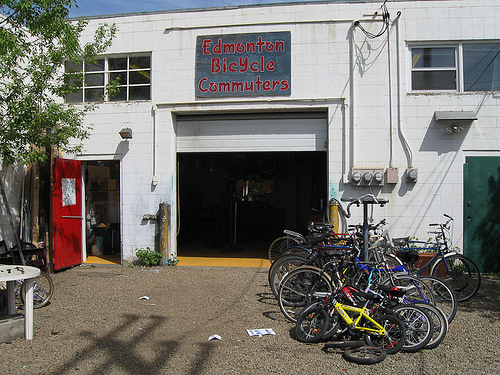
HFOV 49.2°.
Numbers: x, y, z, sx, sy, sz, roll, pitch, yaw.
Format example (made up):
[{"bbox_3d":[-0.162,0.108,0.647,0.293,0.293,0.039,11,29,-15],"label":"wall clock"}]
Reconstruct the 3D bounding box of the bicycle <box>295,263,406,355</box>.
[{"bbox_3d":[1.539,1.944,8.435,1.831,1.127,1.127,-2,-28,36],"label":"bicycle"}]

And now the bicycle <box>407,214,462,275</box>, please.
[{"bbox_3d":[3.375,1.115,10.995,1.660,0.822,1.022,-6,-7,8],"label":"bicycle"}]

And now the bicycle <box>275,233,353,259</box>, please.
[{"bbox_3d":[1.104,1.045,10.165,1.054,0.622,0.514,-2,1,0],"label":"bicycle"}]

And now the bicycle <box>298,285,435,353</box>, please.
[{"bbox_3d":[1.810,1.973,8.269,1.767,0.942,0.850,2,-18,10],"label":"bicycle"}]

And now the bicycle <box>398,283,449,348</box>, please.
[{"bbox_3d":[2.657,1.916,8.489,0.712,0.980,0.300,-15,-6,5],"label":"bicycle"}]

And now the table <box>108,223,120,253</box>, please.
[{"bbox_3d":[-3.677,1.362,14.827,0.253,0.648,0.798,-2,13,-8],"label":"table"}]

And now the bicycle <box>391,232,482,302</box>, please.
[{"bbox_3d":[3.322,1.543,10.779,2.157,1.246,0.930,-5,-14,32],"label":"bicycle"}]

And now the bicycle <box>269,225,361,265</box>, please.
[{"bbox_3d":[1.276,1.176,11.985,1.692,1.014,0.826,-2,1,0],"label":"bicycle"}]

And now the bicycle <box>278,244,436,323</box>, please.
[{"bbox_3d":[1.669,1.675,9.273,2.507,1.457,1.164,10,-42,-9],"label":"bicycle"}]

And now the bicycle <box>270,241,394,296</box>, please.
[{"bbox_3d":[1.410,1.388,9.493,2.089,1.208,0.961,3,16,-2],"label":"bicycle"}]

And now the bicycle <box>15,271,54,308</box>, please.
[{"bbox_3d":[-3.796,1.821,9.751,0.150,0.636,0.655,-2,-6,41],"label":"bicycle"}]

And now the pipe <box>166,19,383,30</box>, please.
[{"bbox_3d":[0.525,-3.800,12.680,4.930,0.194,0.108,1,13,5],"label":"pipe"}]
